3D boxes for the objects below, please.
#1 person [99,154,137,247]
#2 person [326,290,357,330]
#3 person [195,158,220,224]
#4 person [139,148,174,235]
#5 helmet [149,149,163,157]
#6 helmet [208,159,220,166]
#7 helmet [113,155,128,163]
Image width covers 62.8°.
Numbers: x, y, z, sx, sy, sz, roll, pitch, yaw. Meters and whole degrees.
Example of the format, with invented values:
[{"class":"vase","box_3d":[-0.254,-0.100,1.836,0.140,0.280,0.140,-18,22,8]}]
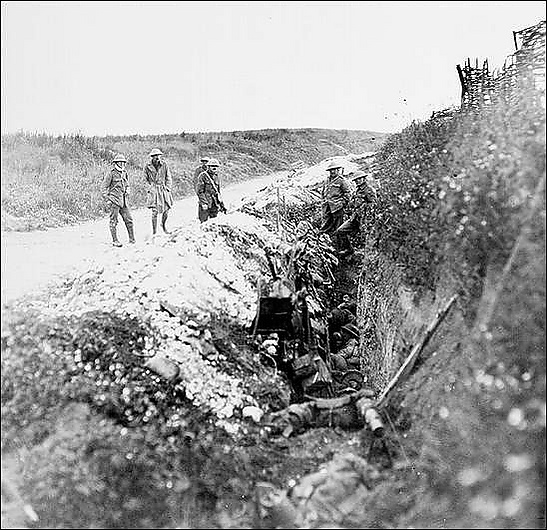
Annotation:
[{"class":"person","box_3d":[-3.600,-1.490,10.412,0.595,2.017,1.138,-8,14,-18]},{"class":"person","box_3d":[1.634,1.004,10.067,0.403,1.075,0.617,17,52,37]},{"class":"person","box_3d":[-1.696,-1.925,11.734,0.653,1.579,0.716,-6,13,-9]},{"class":"person","box_3d":[-2.912,-1.861,11.470,0.674,2.128,1.303,-7,14,-15]},{"class":"helmet","box_3d":[-2.839,-2.703,10.856,0.233,0.174,0.418,-9,16,-18]},{"class":"helmet","box_3d":[-1.526,-2.629,11.564,0.267,0.133,0.300,6,12,15]},{"class":"helmet","box_3d":[-3.577,-2.463,10.543,0.262,0.150,0.298,1,3,-3]}]
